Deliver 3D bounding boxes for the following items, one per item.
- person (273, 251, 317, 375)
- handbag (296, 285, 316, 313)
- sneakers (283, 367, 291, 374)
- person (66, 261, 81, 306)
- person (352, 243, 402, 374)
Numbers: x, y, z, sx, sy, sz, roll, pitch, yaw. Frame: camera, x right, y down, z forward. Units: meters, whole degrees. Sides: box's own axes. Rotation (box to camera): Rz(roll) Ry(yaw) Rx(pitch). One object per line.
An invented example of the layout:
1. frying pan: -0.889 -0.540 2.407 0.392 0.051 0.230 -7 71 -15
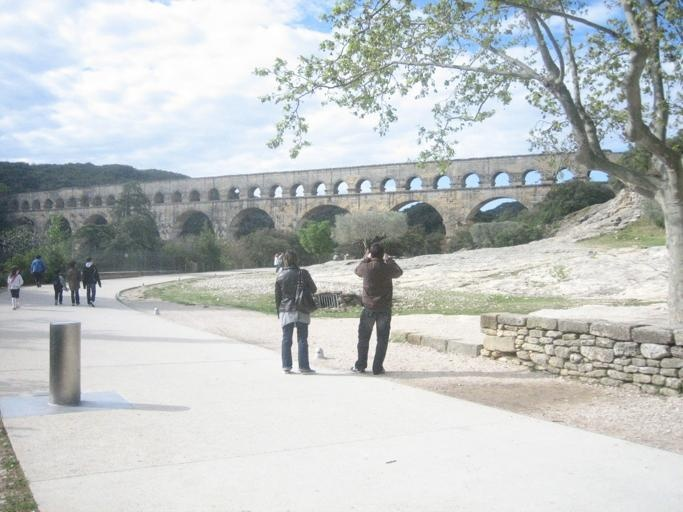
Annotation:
1. person: -0.670 0.806 9.809 0.576 1.711 0.994 0 4 -5
2. handbag: -0.506 0.640 9.631 0.313 0.352 0.132 -2 5 -30
3. sneakers: -0.749 1.599 9.378 0.107 0.057 0.134 0 4 -11
4. person: -7.595 0.787 19.150 0.312 1.186 1.716 -1 4 -23
5. person: 0.471 0.764 9.801 0.763 1.840 0.567 -1 5 -22
